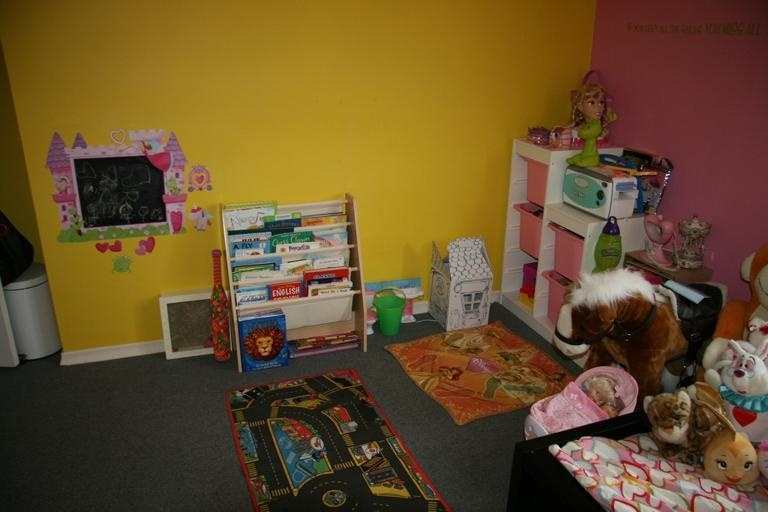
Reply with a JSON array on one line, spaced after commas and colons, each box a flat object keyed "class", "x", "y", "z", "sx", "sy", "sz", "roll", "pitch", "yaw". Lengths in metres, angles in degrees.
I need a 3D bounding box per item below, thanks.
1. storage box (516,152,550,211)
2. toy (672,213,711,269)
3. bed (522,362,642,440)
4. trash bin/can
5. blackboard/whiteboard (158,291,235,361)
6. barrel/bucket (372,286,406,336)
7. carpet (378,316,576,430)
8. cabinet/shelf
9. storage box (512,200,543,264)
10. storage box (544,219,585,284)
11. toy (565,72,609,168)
[{"class": "storage box", "x": 1.551, "y": -0.765, "z": 5.588, "sx": 0.397, "sy": 0.514, "sz": 0.544, "roll": -3, "pitch": 20, "yaw": -10}, {"class": "toy", "x": 2.605, "y": -0.133, "z": 4.613, "sx": 0.271, "sy": 0.412, "sz": 0.265, "roll": -13, "pitch": 18, "yaw": -37}, {"class": "bed", "x": 1.444, "y": 1.063, "z": 3.957, "sx": 0.815, "sy": 0.306, "sz": 0.467, "roll": -24, "pitch": 33, "yaw": -9}, {"class": "trash bin/can", "x": -3.299, "y": 0.554, "z": 5.145, "sx": 0.396, "sy": 0.789, "sz": 0.256, "roll": -17, "pitch": 24, "yaw": -32}, {"class": "blackboard/whiteboard", "x": -1.857, "y": 0.644, "z": 5.182, "sx": 0.515, "sy": 0.614, "sz": 0.203, "roll": -10, "pitch": 21, "yaw": -16}, {"class": "barrel/bucket", "x": 0.053, "y": 0.562, "z": 5.559, "sx": 0.313, "sy": 0.426, "sz": 0.314, "roll": -1, "pitch": 32, "yaw": 1}, {"class": "carpet", "x": 0.924, "y": 1.021, "z": 5.145, "sx": 1.750, "sy": 0.013, "sz": 1.694, "roll": 14, "pitch": 28, "yaw": 26}, {"class": "cabinet/shelf", "x": 1.786, "y": -0.216, "z": 4.933, "sx": 0.705, "sy": 2.055, "sz": 1.583, "roll": -7, "pitch": 21, "yaw": -22}, {"class": "storage box", "x": 1.525, "y": -0.264, "z": 5.900, "sx": 0.432, "sy": 0.567, "sz": 0.620, "roll": 0, "pitch": -2, "yaw": 17}, {"class": "storage box", "x": 1.758, "y": -0.040, "z": 5.303, "sx": 0.426, "sy": 0.486, "sz": 0.597, "roll": 1, "pitch": 15, "yaw": -3}, {"class": "toy", "x": 1.970, "y": -1.296, "z": 5.168, "sx": 0.391, "sy": 0.833, "sz": 0.551, "roll": 4, "pitch": 21, "yaw": 19}]
